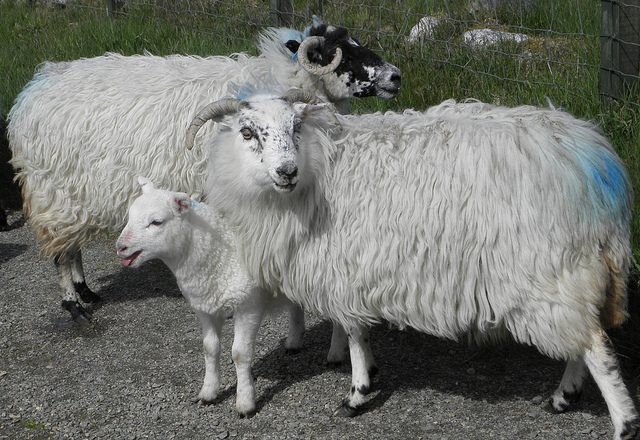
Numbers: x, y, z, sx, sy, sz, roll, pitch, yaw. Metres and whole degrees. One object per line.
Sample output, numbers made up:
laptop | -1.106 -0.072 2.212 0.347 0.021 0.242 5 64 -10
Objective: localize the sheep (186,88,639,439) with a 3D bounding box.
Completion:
sheep | 0.576 0.336 3.801 1.911 1.535 0.749 1 24 11

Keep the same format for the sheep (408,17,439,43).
sheep | 1.150 -2.115 6.712 0.304 0.190 0.711 8 28 9
